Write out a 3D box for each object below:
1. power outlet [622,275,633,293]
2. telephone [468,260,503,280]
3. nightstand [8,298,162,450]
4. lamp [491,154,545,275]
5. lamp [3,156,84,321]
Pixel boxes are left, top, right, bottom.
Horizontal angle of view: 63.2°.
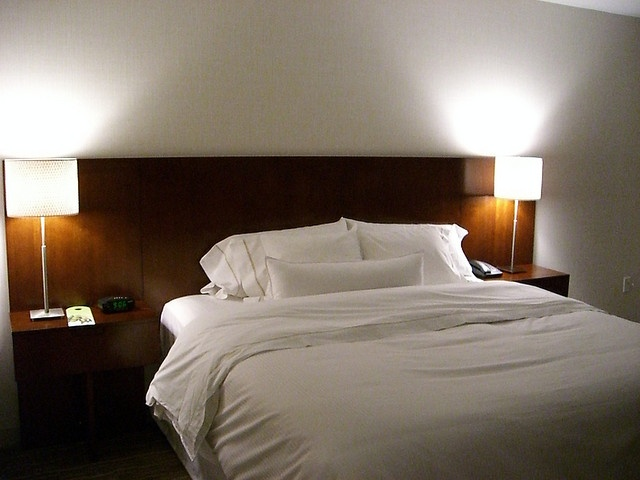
[{"bbox_3d":[2.825,0.400,4.786,0.136,0.158,0.077,-3,5,-25],"label":"power outlet"},{"bbox_3d":[1.293,0.229,4.063,0.241,0.144,0.232,-7,3,22],"label":"telephone"},{"bbox_3d":[-1.390,0.846,3.140,0.790,0.785,0.511,-2,-2,-37],"label":"nightstand"},{"bbox_3d":[1.574,-0.217,4.189,0.343,0.941,0.394,-9,4,-23],"label":"lamp"},{"bbox_3d":[-1.590,-0.019,3.051,0.429,0.954,0.299,-8,4,-15],"label":"lamp"}]
